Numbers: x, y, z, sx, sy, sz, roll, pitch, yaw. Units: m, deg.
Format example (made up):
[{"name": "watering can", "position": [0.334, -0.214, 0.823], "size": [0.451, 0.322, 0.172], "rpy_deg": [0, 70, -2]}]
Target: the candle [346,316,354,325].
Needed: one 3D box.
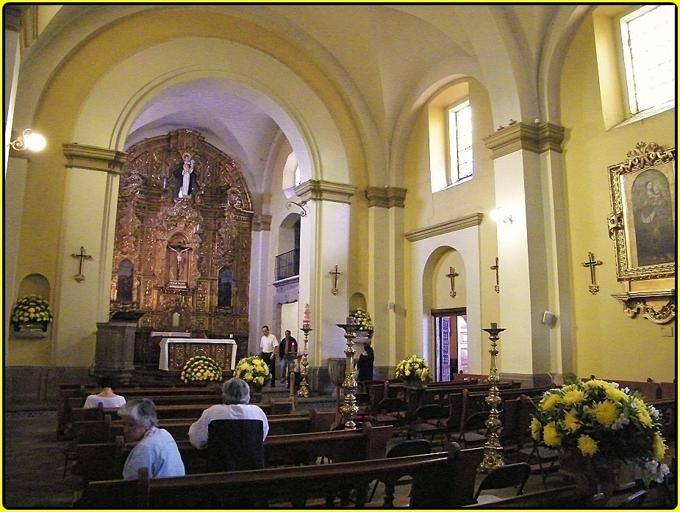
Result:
[{"name": "candle", "position": [0.101, 0.769, 6.158], "size": [0.093, 0.097, 0.091], "rpy_deg": [1, -2, -24]}]

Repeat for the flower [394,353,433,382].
[{"name": "flower", "position": [1.338, 2.050, 9.576], "size": [0.588, 0.499, 0.566], "rpy_deg": [1, -13, 3]}]

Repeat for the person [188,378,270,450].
[{"name": "person", "position": [-1.034, 1.592, 5.145], "size": [0.884, 0.699, 0.474], "rpy_deg": [4, 0, -20]}]

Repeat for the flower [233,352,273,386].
[{"name": "flower", "position": [-1.457, 1.949, 8.865], "size": [0.600, 0.535, 0.583], "rpy_deg": [5, -7, -21]}]

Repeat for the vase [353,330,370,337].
[{"name": "vase", "position": [0.591, 1.997, 13.281], "size": [0.361, 0.184, 0.282], "rpy_deg": [0, -11, 0]}]

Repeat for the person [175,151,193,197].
[{"name": "person", "position": [-5.661, -2.930, 19.248], "size": [0.577, 1.795, 0.468], "rpy_deg": [6, -13, -27]}]
